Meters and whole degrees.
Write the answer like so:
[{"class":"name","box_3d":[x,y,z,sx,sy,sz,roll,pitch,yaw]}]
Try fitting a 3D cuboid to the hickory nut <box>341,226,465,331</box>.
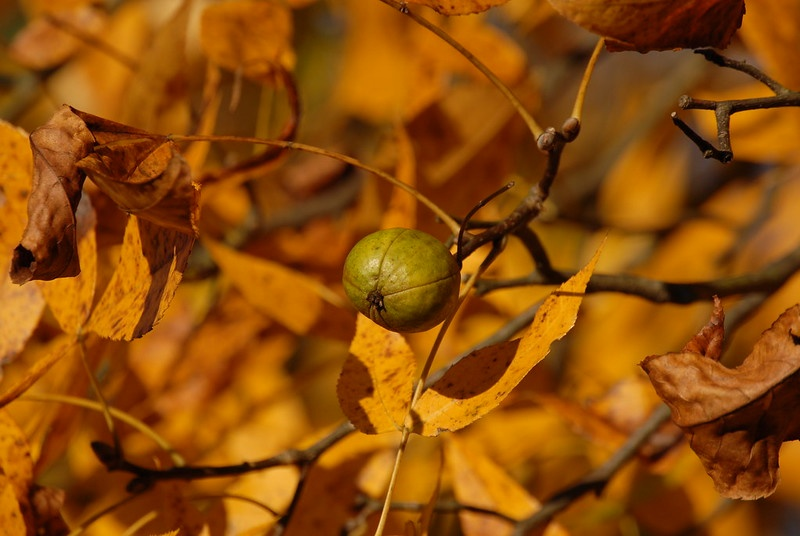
[{"class":"hickory nut","box_3d":[0.001,0.013,1.170,0.092,0.117,0.068,36,93,7]}]
